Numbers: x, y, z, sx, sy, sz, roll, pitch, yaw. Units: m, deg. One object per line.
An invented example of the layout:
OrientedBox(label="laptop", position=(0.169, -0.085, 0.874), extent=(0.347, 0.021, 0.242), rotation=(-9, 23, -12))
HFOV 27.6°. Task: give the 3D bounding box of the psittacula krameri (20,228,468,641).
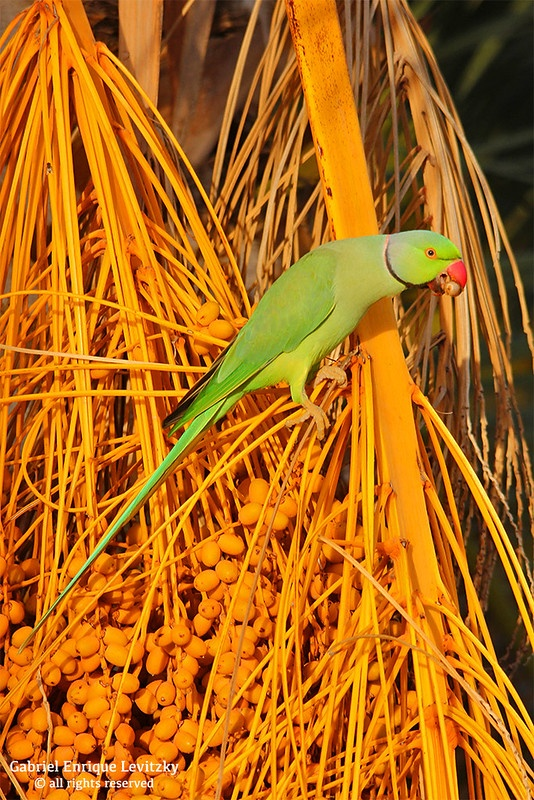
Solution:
OrientedBox(label="psittacula krameri", position=(-0.018, 0.027, 0.733), extent=(0.333, 0.132, 0.091), rotation=(-34, 21, 5))
